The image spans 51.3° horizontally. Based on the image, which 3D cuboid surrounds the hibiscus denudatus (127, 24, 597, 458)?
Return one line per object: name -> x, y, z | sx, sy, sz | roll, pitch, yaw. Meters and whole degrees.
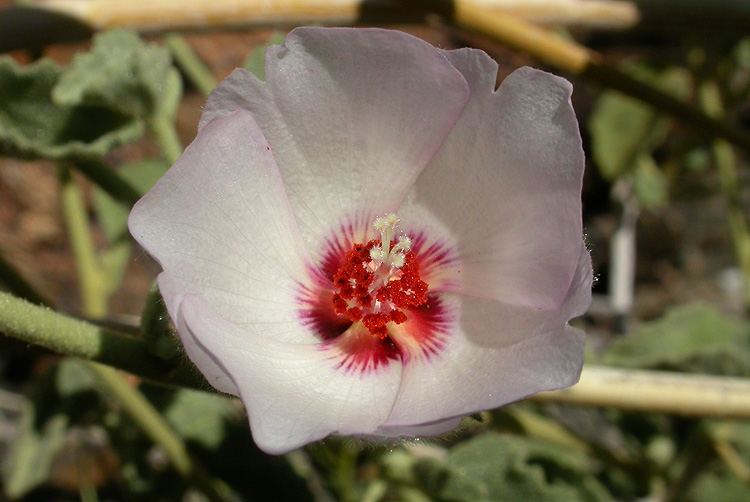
hibiscus denudatus -> -0.010, -0.035, 1.559 | 0.829, 0.400, 0.794 | -13, 81, 1
